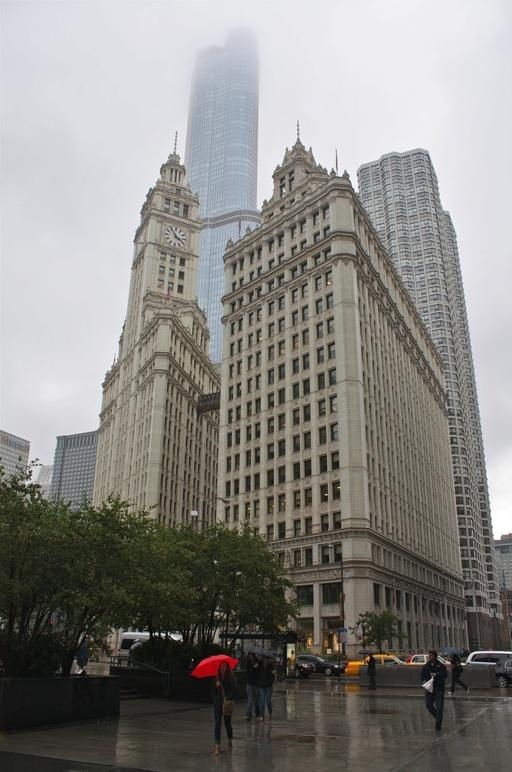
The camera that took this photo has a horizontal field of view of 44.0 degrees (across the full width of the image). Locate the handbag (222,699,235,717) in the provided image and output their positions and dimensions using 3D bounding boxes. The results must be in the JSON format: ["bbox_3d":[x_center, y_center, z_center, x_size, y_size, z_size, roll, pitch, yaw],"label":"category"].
[{"bbox_3d":[-0.534,6.043,11.896,0.156,0.302,0.226,6,-23,-15],"label":"handbag"}]

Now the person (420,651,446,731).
[{"bbox_3d":[4.193,7.108,14.867,0.540,1.634,1.523,-6,-23,14],"label":"person"}]

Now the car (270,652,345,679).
[{"bbox_3d":[4.122,19.152,43.425,2.882,1.408,3.415,0,-23,0],"label":"car"}]

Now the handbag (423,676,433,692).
[{"bbox_3d":[4.007,6.904,14.676,0.167,0.356,0.354,1,-23,-2],"label":"handbag"}]
